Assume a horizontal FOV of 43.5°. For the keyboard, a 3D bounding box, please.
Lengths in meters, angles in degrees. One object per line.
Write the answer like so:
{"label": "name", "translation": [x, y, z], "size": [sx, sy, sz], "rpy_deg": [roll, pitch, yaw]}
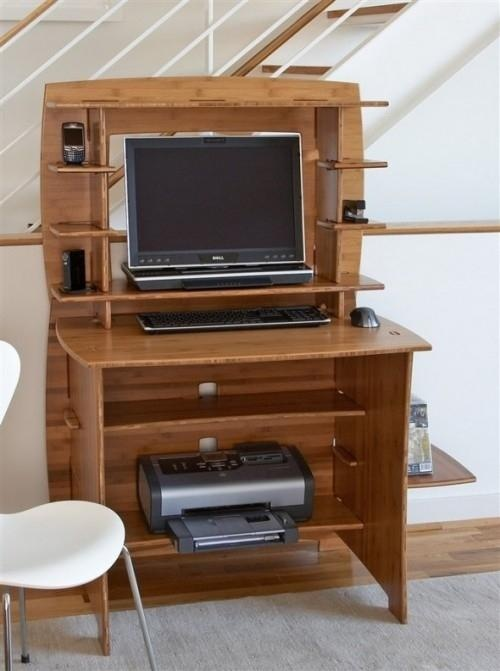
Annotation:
{"label": "keyboard", "translation": [-0.022, -0.046, 1.781], "size": [0.585, 0.060, 0.243], "rpy_deg": [-2, 7, -18]}

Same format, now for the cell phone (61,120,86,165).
{"label": "cell phone", "translation": [-0.469, -0.499, 1.637], "size": [0.061, 0.124, 0.078], "rpy_deg": [1, 7, 3]}

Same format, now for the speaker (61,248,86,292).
{"label": "speaker", "translation": [-0.474, -0.172, 1.690], "size": [0.056, 0.113, 0.084], "rpy_deg": [-2, 7, -16]}

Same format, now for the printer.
{"label": "printer", "translation": [-0.058, 0.451, 1.794], "size": [0.483, 0.197, 0.399], "rpy_deg": [-2, 7, -16]}
